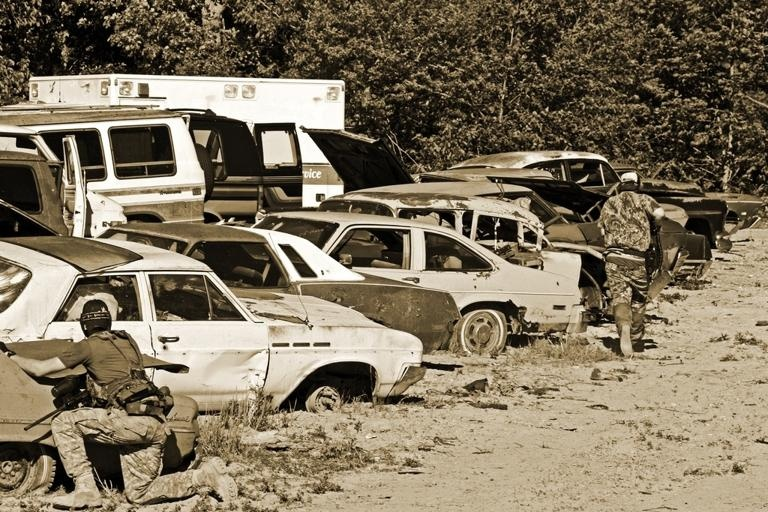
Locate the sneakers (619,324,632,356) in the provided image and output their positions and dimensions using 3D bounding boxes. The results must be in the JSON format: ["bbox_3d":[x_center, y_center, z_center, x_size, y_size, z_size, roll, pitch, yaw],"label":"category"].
[{"bbox_3d":[3.719,1.319,21.133,0.168,0.526,0.144,5,-36,3],"label":"sneakers"}]

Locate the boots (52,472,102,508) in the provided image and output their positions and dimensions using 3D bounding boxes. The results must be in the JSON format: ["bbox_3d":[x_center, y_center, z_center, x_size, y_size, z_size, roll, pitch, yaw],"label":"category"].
[{"bbox_3d":[-3.501,2.775,15.915,0.686,0.463,0.269,2,-11,-7],"label":"boots"}]

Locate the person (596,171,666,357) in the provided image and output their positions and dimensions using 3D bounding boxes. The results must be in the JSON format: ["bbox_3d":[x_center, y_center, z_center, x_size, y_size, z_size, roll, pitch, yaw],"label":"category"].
[{"bbox_3d":[3.972,0.051,21.590,1.018,2.438,1.392,0,0,17],"label":"person"}]

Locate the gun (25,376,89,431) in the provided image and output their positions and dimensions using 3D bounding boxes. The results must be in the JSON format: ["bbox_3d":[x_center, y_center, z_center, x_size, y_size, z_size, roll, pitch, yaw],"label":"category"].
[{"bbox_3d":[-3.773,1.727,15.964,0.689,0.609,0.096,-1,5,-15],"label":"gun"}]
